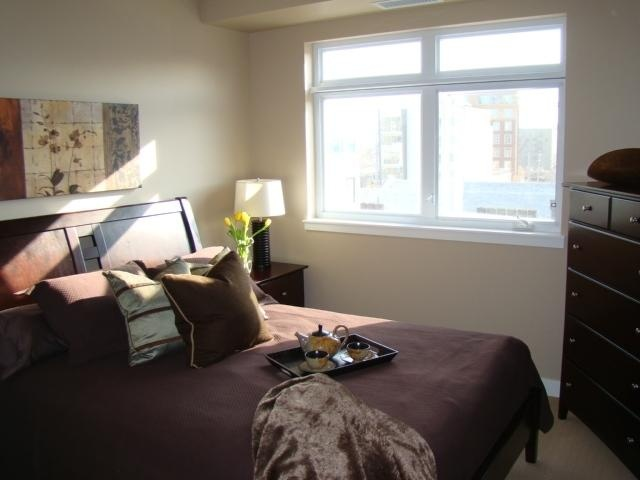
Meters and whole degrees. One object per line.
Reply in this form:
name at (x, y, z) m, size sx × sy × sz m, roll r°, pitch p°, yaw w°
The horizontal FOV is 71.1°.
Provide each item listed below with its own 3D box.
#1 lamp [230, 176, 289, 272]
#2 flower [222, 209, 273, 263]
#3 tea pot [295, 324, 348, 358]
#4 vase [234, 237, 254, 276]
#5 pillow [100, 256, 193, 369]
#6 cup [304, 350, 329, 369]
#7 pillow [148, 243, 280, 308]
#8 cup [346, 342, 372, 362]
lamp at (-0.613, -0.161, 4.536) m, size 0.511 × 0.942 × 0.525 m, roll -9°, pitch 16°, yaw -29°
flower at (-0.736, -0.036, 4.041) m, size 0.230 × 0.332 × 0.294 m, roll -8°, pitch -14°, yaw -14°
tea pot at (0.028, 0.581, 2.659) m, size 0.254 × 0.167 × 0.194 m, roll -1°, pitch -3°, yaw -2°
vase at (-0.677, 0.158, 3.963) m, size 0.126 × 0.264 × 0.137 m, roll -4°, pitch -7°, yaw -5°
pillow at (-1.091, 0.435, 2.743) m, size 0.155 × 0.542 × 0.517 m, roll -25°, pitch -5°, yaw 37°
cup at (-0.015, 0.670, 2.512) m, size 0.115 × 0.100 × 0.089 m, roll 3°, pitch 14°, yaw 15°
pillow at (-0.885, 0.216, 3.449) m, size 0.573 × 0.155 × 0.582 m, roll 7°, pitch 14°, yaw 34°
cup at (0.229, 0.640, 2.599) m, size 0.096 × 0.073 × 0.102 m, roll -1°, pitch 6°, yaw 0°
